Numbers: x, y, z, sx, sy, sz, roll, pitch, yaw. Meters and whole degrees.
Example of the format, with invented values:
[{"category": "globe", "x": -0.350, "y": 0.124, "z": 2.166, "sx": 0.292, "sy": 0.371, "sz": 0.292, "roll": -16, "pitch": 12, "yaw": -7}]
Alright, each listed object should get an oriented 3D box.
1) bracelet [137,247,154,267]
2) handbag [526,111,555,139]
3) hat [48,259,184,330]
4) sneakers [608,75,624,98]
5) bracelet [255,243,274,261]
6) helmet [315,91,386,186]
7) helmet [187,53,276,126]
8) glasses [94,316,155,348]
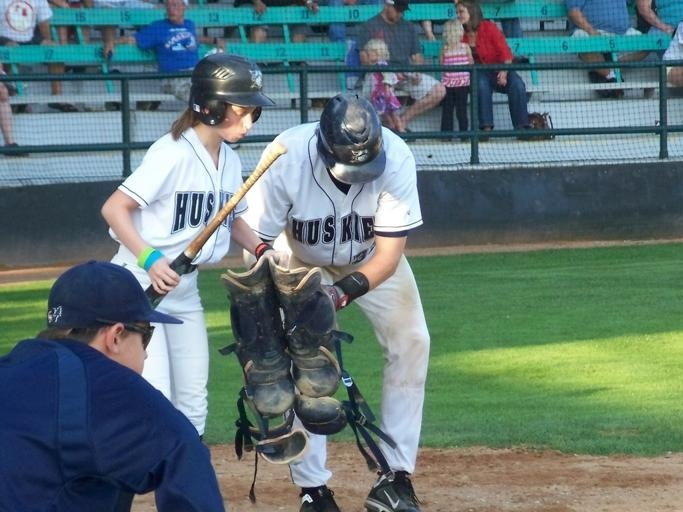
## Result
[{"category": "bracelet", "x": -1.487, "y": -0.003, "z": 11.069, "sx": 0.065, "sy": 0.145, "sz": 0.109, "roll": 24, "pitch": 26, "yaw": -10}, {"category": "handbag", "x": 2.353, "y": -1.562, "z": 17.269, "sx": 0.256, "sy": 0.365, "sz": 0.375, "roll": -4, "pitch": 18, "yaw": 4}, {"category": "hat", "x": -1.672, "y": 0.280, "z": 10.097, "sx": 0.652, "sy": 0.328, "sz": 0.408, "roll": 2, "pitch": 2, "yaw": -13}, {"category": "sneakers", "x": 3.374, "y": -2.118, "z": 17.971, "sx": 0.198, "sy": 0.289, "sz": 0.102, "roll": 5, "pitch": 2, "yaw": 12}, {"category": "bracelet", "x": -0.598, "y": -0.046, "z": 11.382, "sx": 0.116, "sy": 0.146, "sz": 0.123, "roll": -2, "pitch": -3, "yaw": -16}, {"category": "helmet", "x": 0.079, "y": -0.946, "z": 11.182, "sx": 0.482, "sy": 0.671, "sz": 0.325, "roll": -11, "pitch": -22, "yaw": -12}, {"category": "helmet", "x": -0.823, "y": -1.326, "z": 11.304, "sx": 0.628, "sy": 0.497, "sz": 0.473, "roll": 13, "pitch": 17, "yaw": 30}, {"category": "glasses", "x": -1.474, "y": 0.528, "z": 10.201, "sx": 0.272, "sy": 0.100, "sz": 0.204, "roll": 24, "pitch": -2, "yaw": -20}]
